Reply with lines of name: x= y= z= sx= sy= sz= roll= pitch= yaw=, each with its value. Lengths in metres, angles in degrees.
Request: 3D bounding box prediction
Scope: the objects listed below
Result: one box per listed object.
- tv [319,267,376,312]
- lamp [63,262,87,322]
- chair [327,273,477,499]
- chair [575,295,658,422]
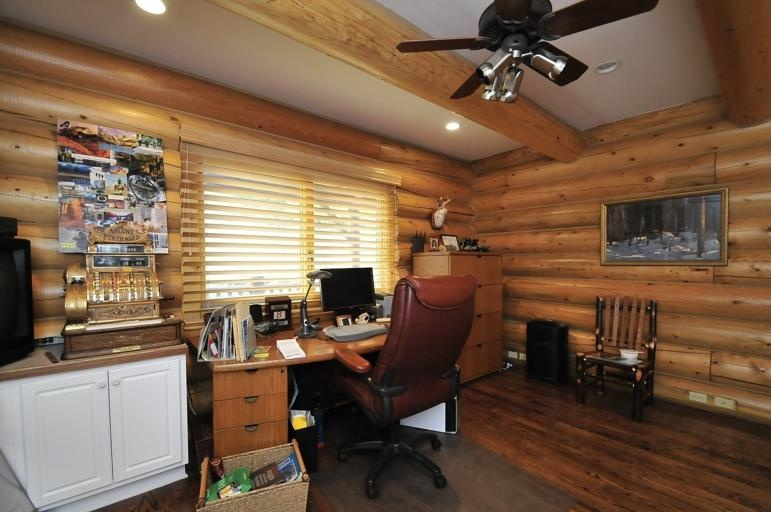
tv: x=-0.380 y=0.332 z=5.024 sx=0.691 sy=0.423 sz=0.062 roll=-2 pitch=-5 yaw=-44
lamp: x=-2.394 y=0.292 z=3.875 sx=0.138 sy=0.434 sz=0.152 roll=-1 pitch=1 yaw=-33
chair: x=0.118 y=1.027 z=4.343 sx=1.276 sy=1.521 sz=1.214 roll=2 pitch=-4 yaw=-43
chair: x=2.389 y=0.988 z=5.133 sx=0.674 sy=1.125 sz=0.747 roll=0 pitch=1 yaw=32
